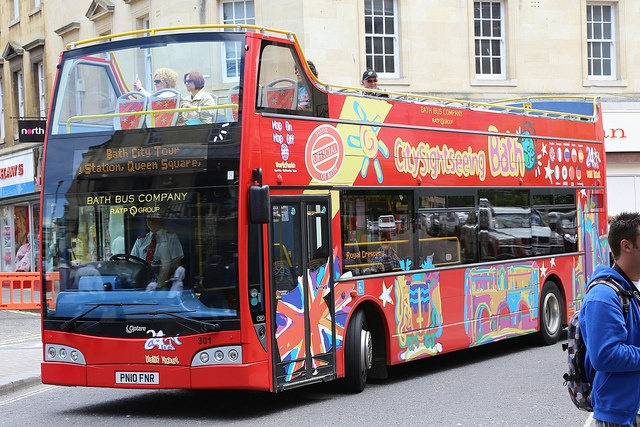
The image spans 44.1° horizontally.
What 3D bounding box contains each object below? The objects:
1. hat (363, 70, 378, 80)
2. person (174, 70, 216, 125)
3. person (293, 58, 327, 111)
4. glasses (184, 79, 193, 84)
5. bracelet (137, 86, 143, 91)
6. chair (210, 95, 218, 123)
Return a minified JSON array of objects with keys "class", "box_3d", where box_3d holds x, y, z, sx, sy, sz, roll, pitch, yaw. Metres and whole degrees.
[{"class":"hat","box_3d":[0.910,-2.711,15.631,0.291,0.279,0.446,0,9,-7]},{"class":"person","box_3d":[-1.686,-1.622,11.134,0.509,0.769,0.385,-1,1,5]},{"class":"person","box_3d":[-0.181,-1.981,11.959,0.205,0.851,0.542,0,8,-40]},{"class":"glasses","box_3d":[-1.850,-1.882,11.289,0.072,0.026,0.071,7,-5,-43]},{"class":"bracelet","box_3d":[-2.540,-1.793,11.373,0.058,0.029,0.096,-14,18,-18]},{"class":"chair","box_3d":[-1.441,-1.477,11.019,0.103,0.310,0.197,0,1,-34]}]
